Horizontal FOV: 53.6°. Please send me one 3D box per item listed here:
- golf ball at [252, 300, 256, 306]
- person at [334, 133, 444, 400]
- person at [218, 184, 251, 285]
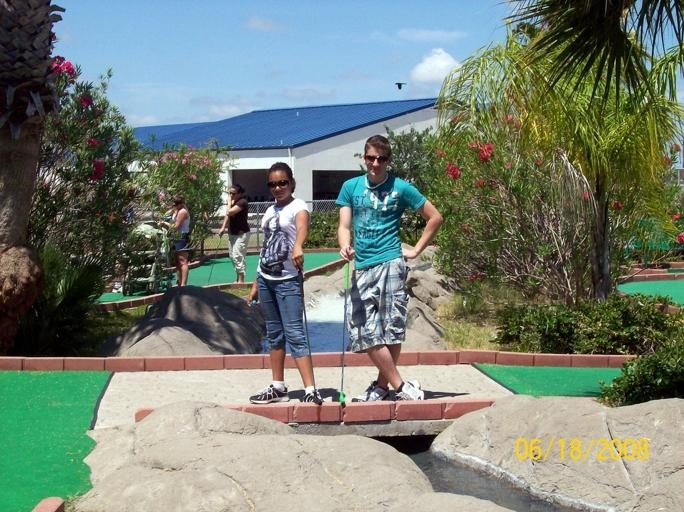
[{"bbox_3d":[-0.926,0.493,7.020,0.038,0.045,0.070,-4,-6,4],"label":"golf ball"},{"bbox_3d":[0.430,0.156,6.537,0.886,2.554,0.496,-3,0,0],"label":"person"},{"bbox_3d":[-2.322,-0.501,14.612,0.556,2.215,0.845,0,0,35],"label":"person"}]
